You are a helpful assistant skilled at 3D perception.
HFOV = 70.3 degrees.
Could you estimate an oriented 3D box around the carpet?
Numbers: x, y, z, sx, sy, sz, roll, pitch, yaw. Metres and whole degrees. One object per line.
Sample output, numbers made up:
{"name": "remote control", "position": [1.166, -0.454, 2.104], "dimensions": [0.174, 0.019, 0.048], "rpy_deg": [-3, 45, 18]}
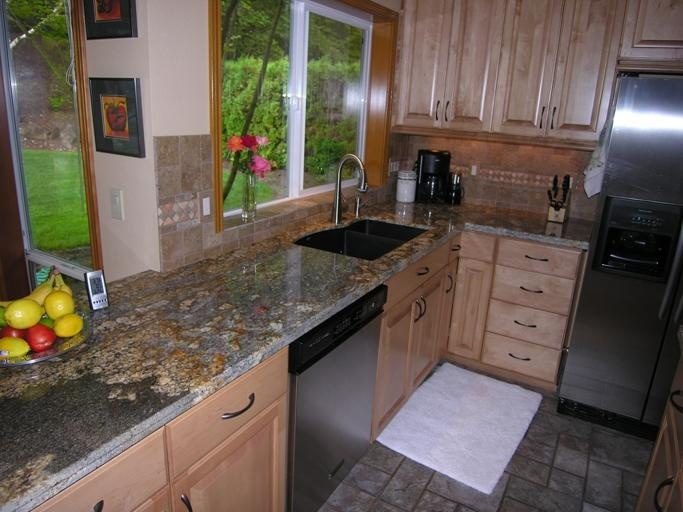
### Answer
{"name": "carpet", "position": [0.721, 1.086, 3.051], "dimensions": [0.480, 0.035, 0.741], "rpy_deg": [17, 27, 28]}

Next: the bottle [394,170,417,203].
{"name": "bottle", "position": [0.515, -0.569, 3.947], "dimensions": [0.174, 0.254, 0.192], "rpy_deg": [0, 19, 0]}

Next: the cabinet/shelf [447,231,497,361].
{"name": "cabinet/shelf", "position": [0.943, 0.313, 3.547], "dimensions": [0.236, 1.046, 0.084], "rpy_deg": [13, 28, 26]}

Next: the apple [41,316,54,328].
{"name": "apple", "position": [-1.044, 0.235, 1.731], "dimensions": [0.037, 0.037, 0.038], "rpy_deg": [5, 16, -28]}

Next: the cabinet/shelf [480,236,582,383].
{"name": "cabinet/shelf", "position": [1.425, 0.329, 3.655], "dimensions": [0.649, 1.060, 0.743], "rpy_deg": [6, 22, 12]}

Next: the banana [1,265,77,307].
{"name": "banana", "position": [-1.621, 0.141, 2.602], "dimensions": [0.080, 0.180, 0.271], "rpy_deg": [19, 46, 24]}

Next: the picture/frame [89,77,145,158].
{"name": "picture/frame", "position": [-1.019, -0.637, 2.213], "dimensions": [0.316, 0.327, 0.031], "rpy_deg": [13, 20, 30]}

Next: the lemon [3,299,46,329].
{"name": "lemon", "position": [-1.106, 0.196, 1.700], "dimensions": [0.104, 0.094, 0.112], "rpy_deg": [-7, 20, -20]}

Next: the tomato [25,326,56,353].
{"name": "tomato", "position": [-1.038, 0.282, 1.669], "dimensions": [0.092, 0.077, 0.056], "rpy_deg": [1, 19, 4]}

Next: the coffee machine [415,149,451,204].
{"name": "coffee machine", "position": [0.762, -0.655, 4.012], "dimensions": [0.240, 0.401, 0.259], "rpy_deg": [6, 14, 11]}

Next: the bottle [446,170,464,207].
{"name": "bottle", "position": [0.937, -0.551, 4.010], "dimensions": [0.134, 0.252, 0.133], "rpy_deg": [0, 9, 0]}

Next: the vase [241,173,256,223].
{"name": "vase", "position": [-0.529, -0.336, 2.752], "dimensions": [0.083, 0.255, 0.127], "rpy_deg": [-4, 19, -11]}

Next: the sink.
{"name": "sink", "position": [0.217, -0.112, 3.175], "dimensions": [0.366, 0.182, 0.514], "rpy_deg": [17, 30, 34]}

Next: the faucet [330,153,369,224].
{"name": "faucet", "position": [0.059, -0.394, 3.039], "dimensions": [0.301, 0.495, 0.159], "rpy_deg": [17, 32, 23]}

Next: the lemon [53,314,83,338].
{"name": "lemon", "position": [-0.969, 0.248, 1.727], "dimensions": [0.086, 0.065, 0.069], "rpy_deg": [-2, 57, -45]}

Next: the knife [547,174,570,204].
{"name": "knife", "position": [1.629, -0.484, 3.672], "dimensions": [0.155, 0.122, 0.275], "rpy_deg": [12, 60, 23]}
